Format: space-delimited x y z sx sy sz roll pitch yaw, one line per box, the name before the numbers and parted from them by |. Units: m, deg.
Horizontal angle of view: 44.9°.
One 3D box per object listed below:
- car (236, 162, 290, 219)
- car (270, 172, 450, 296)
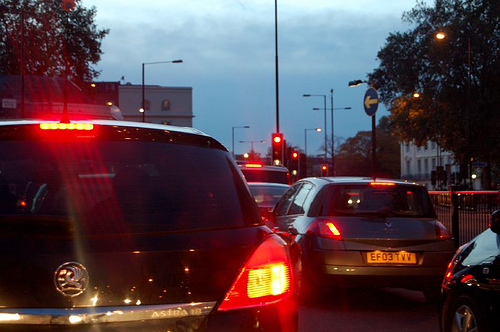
car | 0.281 0.401 10.795 0.997 0.958 1.752 0 0 -6
car | 1.451 1.006 9.136 1.503 1.190 2.646 1 1 -8
